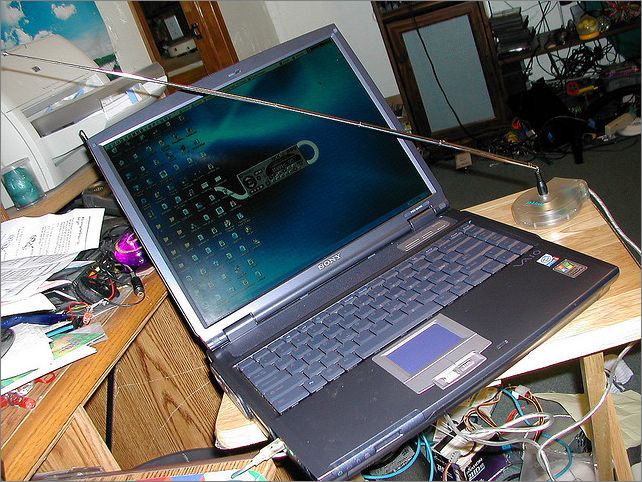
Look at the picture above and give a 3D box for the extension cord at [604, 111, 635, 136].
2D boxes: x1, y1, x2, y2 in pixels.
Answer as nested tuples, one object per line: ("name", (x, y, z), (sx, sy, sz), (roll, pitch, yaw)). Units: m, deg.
("extension cord", (1.565, -0.613, 2.431), (0.205, 0.043, 0.024), (-28, 42, -8))
